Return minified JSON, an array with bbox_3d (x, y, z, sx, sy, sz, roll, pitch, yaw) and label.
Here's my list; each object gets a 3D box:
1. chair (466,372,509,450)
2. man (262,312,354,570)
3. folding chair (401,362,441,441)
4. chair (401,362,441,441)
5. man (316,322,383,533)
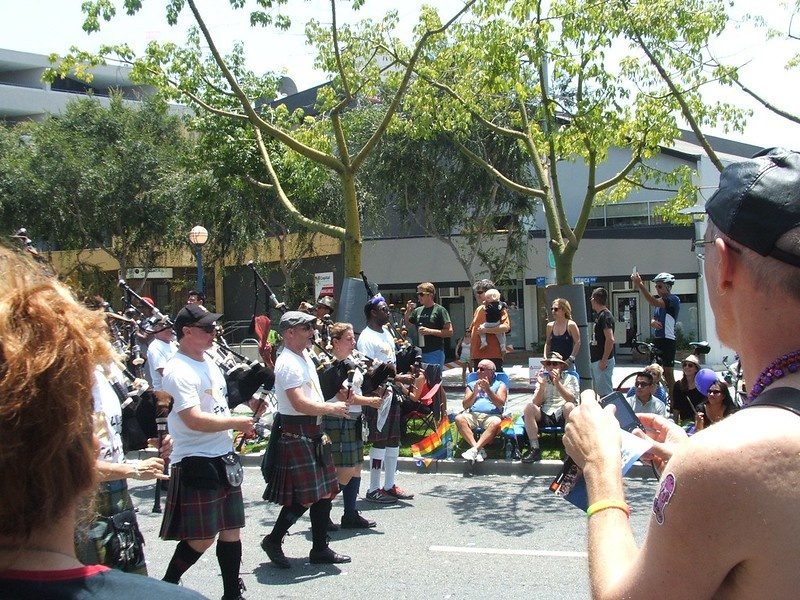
[{"bbox_3d":[0.998,1.278,10.231,0.507,1.157,1.400,-1,-2,13],"label":"chair"},{"bbox_3d":[-0.703,1.059,6.505,0.727,1.905,0.680,0,1,1],"label":"man"},{"bbox_3d":[0.300,1.338,10.586,0.512,0.639,0.471,-25,24,-38],"label":"folding chair"},{"bbox_3d":[0.302,1.200,10.610,0.593,0.884,0.633,-11,19,-3],"label":"chair"},{"bbox_3d":[-0.434,1.112,7.334,0.588,1.794,0.511,6,8,43],"label":"man"}]
